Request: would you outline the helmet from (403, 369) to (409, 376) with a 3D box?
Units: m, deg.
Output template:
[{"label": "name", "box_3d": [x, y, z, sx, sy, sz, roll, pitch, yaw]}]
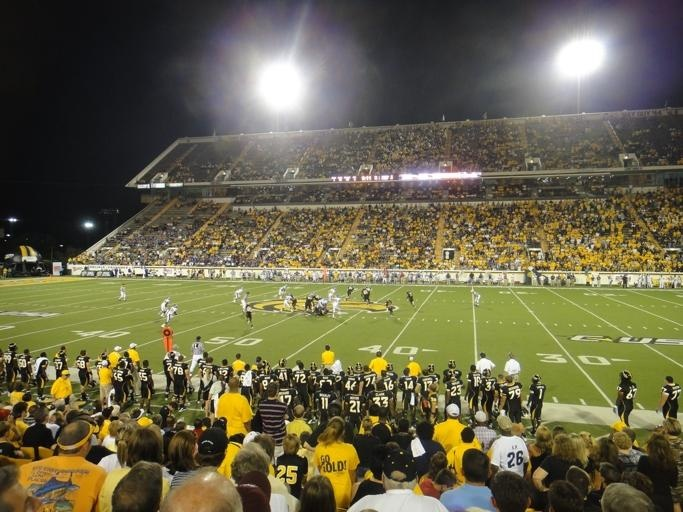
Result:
[{"label": "helmet", "box_3d": [1.778, 3.181, 15.905, 0.153, 0.245, 0.158, 4, 11, 6]}]

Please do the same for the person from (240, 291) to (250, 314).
[{"label": "person", "box_3d": [-4.848, 2.337, 29.039, 0.211, 1.104, 0.877, 1, -6, 28]}]

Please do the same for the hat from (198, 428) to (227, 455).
[{"label": "hat", "box_3d": [-2.193, 3.264, 10.287, 0.482, 0.375, 0.799, 8, -13, -1]}]

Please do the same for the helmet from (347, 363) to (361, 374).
[{"label": "helmet", "box_3d": [0.370, 3.243, 16.471, 0.380, 0.328, 0.510, 1, -12, -12]}]

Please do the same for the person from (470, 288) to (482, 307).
[{"label": "person", "box_3d": [7.044, 2.136, 30.423, 0.732, 1.366, 0.360, 6, -52, 6]}]

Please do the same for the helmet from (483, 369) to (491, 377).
[{"label": "helmet", "box_3d": [3.981, 3.219, 15.945, 0.143, 0.175, 0.195, -8, -43, 24]}]

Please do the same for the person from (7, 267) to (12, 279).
[{"label": "person", "box_3d": [-28.594, 1.480, 49.806, 0.551, 0.889, 1.273, 4, -10, -30]}]

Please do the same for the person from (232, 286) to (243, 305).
[{"label": "person", "box_3d": [-6.097, 2.327, 33.949, 0.459, 0.865, 0.237, 24, 33, 18]}]

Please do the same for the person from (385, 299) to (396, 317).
[{"label": "person", "box_3d": [2.335, 2.550, 28.065, 0.482, 1.105, 0.497, -2, -42, -5]}]
